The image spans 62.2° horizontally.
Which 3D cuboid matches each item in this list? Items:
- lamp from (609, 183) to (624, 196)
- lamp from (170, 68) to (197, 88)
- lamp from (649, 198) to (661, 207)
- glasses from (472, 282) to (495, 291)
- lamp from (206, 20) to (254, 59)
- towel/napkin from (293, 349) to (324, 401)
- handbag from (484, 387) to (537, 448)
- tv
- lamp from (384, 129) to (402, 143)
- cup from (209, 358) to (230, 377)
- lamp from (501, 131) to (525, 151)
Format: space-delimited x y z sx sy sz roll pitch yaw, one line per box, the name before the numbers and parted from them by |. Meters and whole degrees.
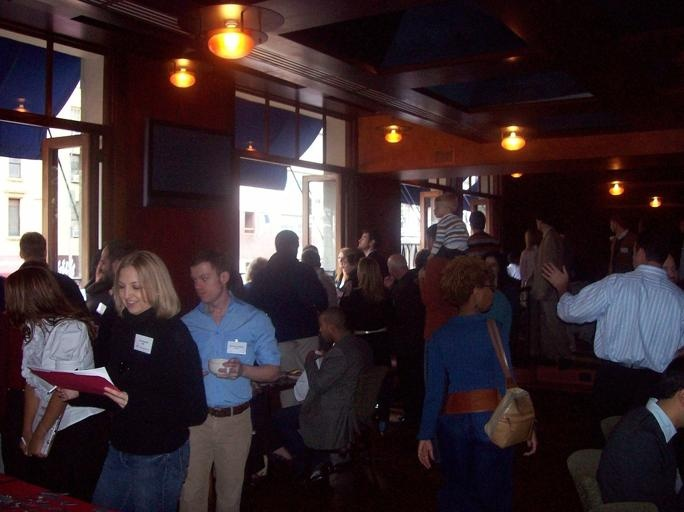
lamp | 6.007 -1.463 12.423 0.245 0.258 0.253 -5 -11 16
lamp | -1.614 -1.818 5.752 0.250 0.144 0.145 0 3 -14
lamp | 6.667 -1.146 12.077 0.184 0.232 0.190 -1 7 7
glasses | 0.785 0.170 3.170 0.092 0.030 0.098 1 4 23
lamp | -0.819 -1.543 4.078 0.349 0.202 0.217 2 3 17
towel/napkin | -0.268 0.923 4.356 0.115 0.328 0.243 15 -16 -17
handbag | 0.906 0.861 2.998 0.342 0.335 0.166 -1 4 -38
tv | -1.706 -1.003 6.141 0.133 0.752 1.036 -1 1 35
lamp | 0.742 -1.754 8.277 0.198 0.129 0.205 1 16 4
cup | -0.660 0.591 3.010 0.087 0.061 0.091 1 -8 0
lamp | 2.348 -1.526 7.739 0.260 0.177 0.266 9 -8 -4
